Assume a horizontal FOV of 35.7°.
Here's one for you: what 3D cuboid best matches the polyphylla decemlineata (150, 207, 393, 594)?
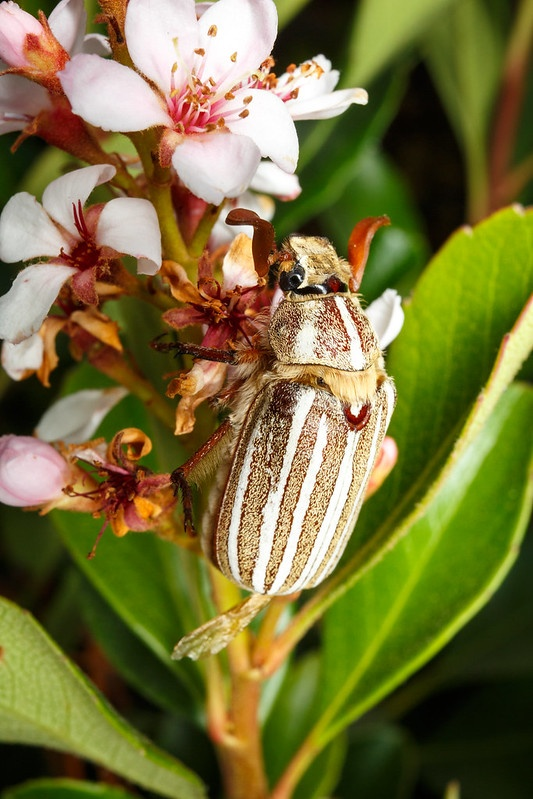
[{"bbox_3d":[0.040,0.006,0.626,0.087,0.178,0.273,16,106,47],"label":"polyphylla decemlineata"}]
